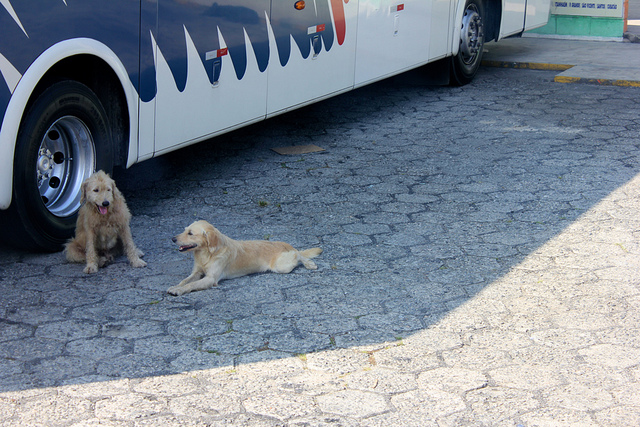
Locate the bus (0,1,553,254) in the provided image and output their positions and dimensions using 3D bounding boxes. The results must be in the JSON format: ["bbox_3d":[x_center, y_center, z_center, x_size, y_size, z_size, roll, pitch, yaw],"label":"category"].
[{"bbox_3d":[-0.445,-1.905,8.616,2.029,1.279,8.324,14,23,33],"label":"bus"}]

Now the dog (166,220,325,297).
[{"bbox_3d":[-0.670,0.337,5.933,1.627,0.570,0.563,-6,7,-36],"label":"dog"}]

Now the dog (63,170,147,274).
[{"bbox_3d":[-2.025,0.044,5.995,0.743,0.819,0.883,-4,6,-19],"label":"dog"}]

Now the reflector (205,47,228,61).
[{"bbox_3d":[-1.129,-1.755,6.957,0.014,0.084,0.344,17,32,30],"label":"reflector"}]
